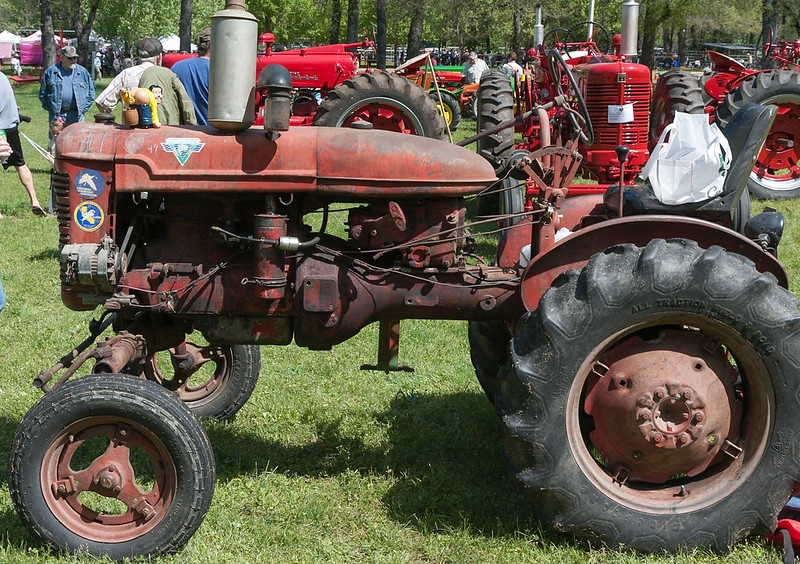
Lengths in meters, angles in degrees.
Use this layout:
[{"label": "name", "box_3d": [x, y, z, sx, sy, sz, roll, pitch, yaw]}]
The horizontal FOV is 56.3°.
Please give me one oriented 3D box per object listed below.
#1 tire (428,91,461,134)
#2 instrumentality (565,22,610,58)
[{"label": "tire", "box_3d": [0.950, -3.516, 15.757, 0.265, 0.879, 0.845, -14, 7, 29]}, {"label": "instrumentality", "box_3d": [2.660, -3.443, 10.756, 0.582, 0.564, 0.372, -41, 41, -23]}]
